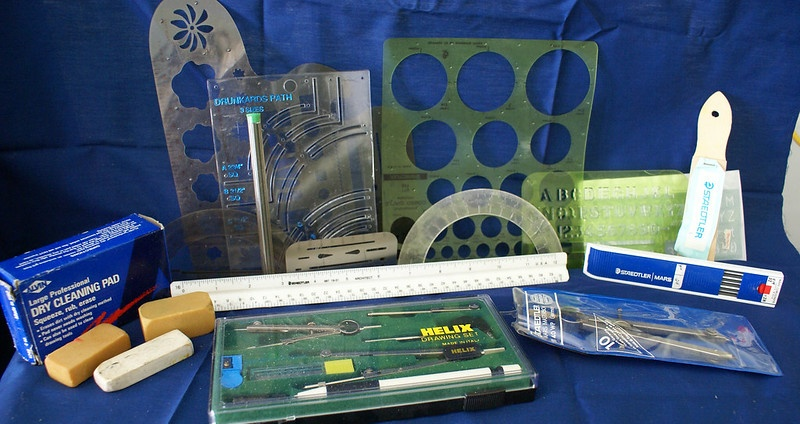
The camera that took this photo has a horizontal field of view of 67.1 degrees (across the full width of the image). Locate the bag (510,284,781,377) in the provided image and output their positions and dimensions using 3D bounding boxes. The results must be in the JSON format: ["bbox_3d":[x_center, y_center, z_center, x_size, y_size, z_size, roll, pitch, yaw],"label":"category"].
[{"bbox_3d":[1.034,0.537,2.608,1.228,0.168,0.378,4,47,3],"label":"bag"}]
